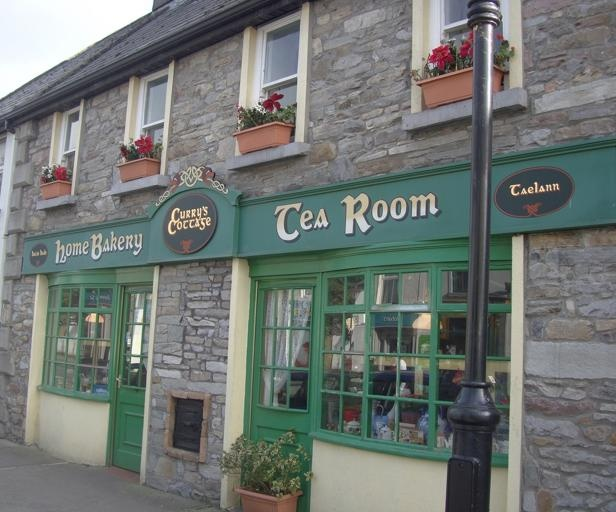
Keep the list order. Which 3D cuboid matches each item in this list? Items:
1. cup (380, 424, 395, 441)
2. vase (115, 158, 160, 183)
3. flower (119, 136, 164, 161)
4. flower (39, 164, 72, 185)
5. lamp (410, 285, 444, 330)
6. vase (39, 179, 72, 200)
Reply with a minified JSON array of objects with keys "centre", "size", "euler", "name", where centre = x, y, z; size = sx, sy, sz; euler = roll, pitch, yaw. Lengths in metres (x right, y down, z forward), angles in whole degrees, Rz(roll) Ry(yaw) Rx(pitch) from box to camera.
[{"centre":[0.774,1.755,6.111],"size":[0.131,0.142,0.091],"euler":[0,-12,3],"name":"cup"},{"centre":[-2.402,-1.194,8.721],"size":[0.727,0.297,0.244],"euler":[-7,-15,33],"name":"vase"},{"centre":[-2.363,-1.365,8.742],"size":[0.452,0.441,0.429],"euler":[-2,-4,17],"name":"flower"},{"centre":[-4.141,-1.340,10.184],"size":[0.329,0.285,0.416],"euler":[0,3,-40],"name":"flower"},{"centre":[1.124,0.532,6.018],"size":[0.299,0.347,0.288],"euler":[1,-3,-3],"name":"lamp"},{"centre":[-4.137,-1.076,10.195],"size":[0.471,0.217,0.320],"euler":[-3,-6,38],"name":"vase"}]
